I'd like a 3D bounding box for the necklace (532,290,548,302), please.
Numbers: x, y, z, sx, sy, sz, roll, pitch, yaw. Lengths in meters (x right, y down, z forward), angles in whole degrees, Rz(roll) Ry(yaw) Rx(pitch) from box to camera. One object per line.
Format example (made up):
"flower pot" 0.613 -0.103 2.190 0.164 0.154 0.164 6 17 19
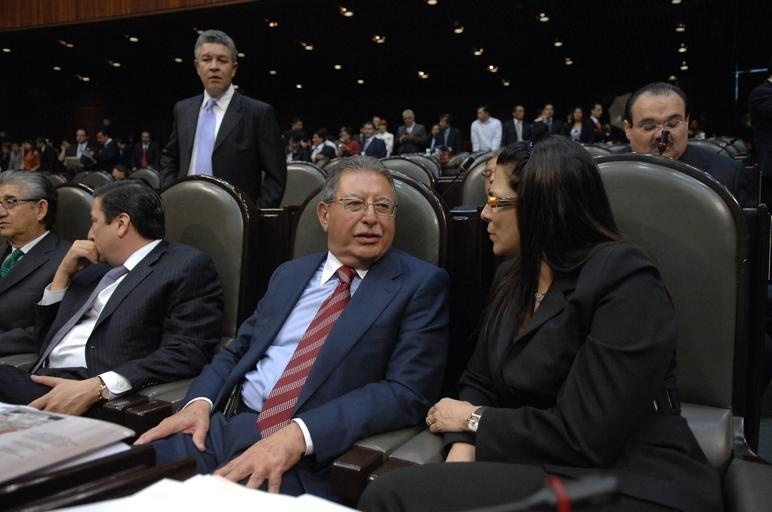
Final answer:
"necklace" 0.549 0.146 2.061 0.037 0.031 0.035 0 -1 39

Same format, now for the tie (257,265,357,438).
"tie" -0.241 0.379 2.387 0.190 0.844 0.074 19 -18 37

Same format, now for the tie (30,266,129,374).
"tie" -1.494 0.323 2.825 0.585 0.087 0.168 -45 -6 -17
